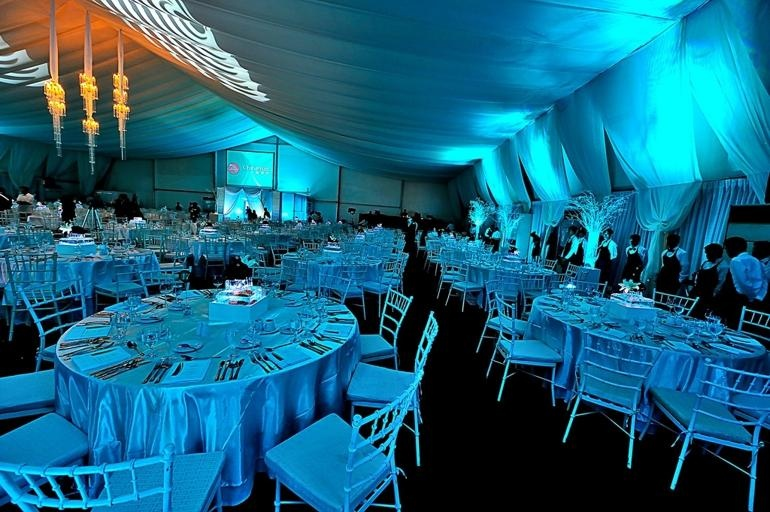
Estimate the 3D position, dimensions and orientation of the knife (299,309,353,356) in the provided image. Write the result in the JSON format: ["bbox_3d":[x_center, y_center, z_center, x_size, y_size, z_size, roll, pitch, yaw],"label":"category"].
[{"bbox_3d":[-0.666,0.942,5.564,0.305,0.082,0.588,11,19,16],"label":"knife"}]

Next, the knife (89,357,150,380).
[{"bbox_3d":[-2.866,1.162,4.866,0.423,0.060,0.198,-9,25,-37],"label":"knife"}]

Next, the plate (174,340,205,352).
[{"bbox_3d":[-2.239,1.022,5.203,0.309,0.092,0.199,0,4,-11],"label":"plate"}]

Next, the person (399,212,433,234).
[{"bbox_3d":[1.821,-1.878,26.382,1.142,1.356,2.035,-4,11,-21],"label":"person"}]
